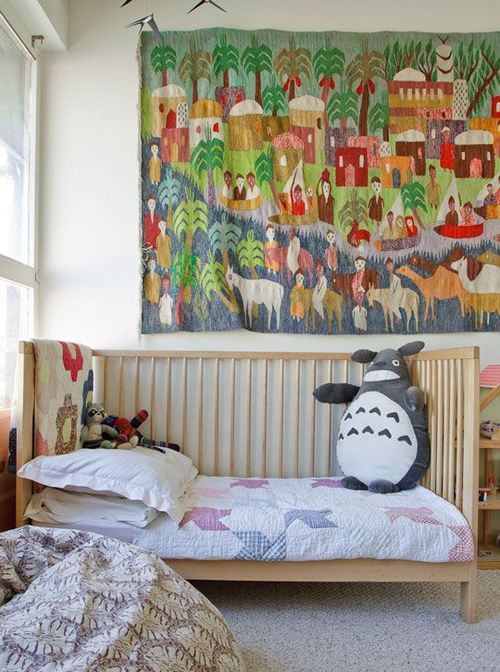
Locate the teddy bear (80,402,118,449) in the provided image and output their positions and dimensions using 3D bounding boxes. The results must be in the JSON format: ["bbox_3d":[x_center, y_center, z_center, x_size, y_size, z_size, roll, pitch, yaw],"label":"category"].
[{"bbox_3d":[-0.517,0.307,2.300,0.143,0.134,0.163,-3,6,-33],"label":"teddy bear"}]

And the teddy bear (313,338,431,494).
[{"bbox_3d":[0.445,0.263,2.253,0.298,0.467,0.371,1,5,7],"label":"teddy bear"}]

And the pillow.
[{"bbox_3d":[-0.400,0.434,2.100,0.475,0.191,0.429,1,5,8],"label":"pillow"}]

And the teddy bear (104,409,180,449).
[{"bbox_3d":[-0.402,0.347,2.420,0.176,0.080,0.163,20,-11,-11],"label":"teddy bear"}]
